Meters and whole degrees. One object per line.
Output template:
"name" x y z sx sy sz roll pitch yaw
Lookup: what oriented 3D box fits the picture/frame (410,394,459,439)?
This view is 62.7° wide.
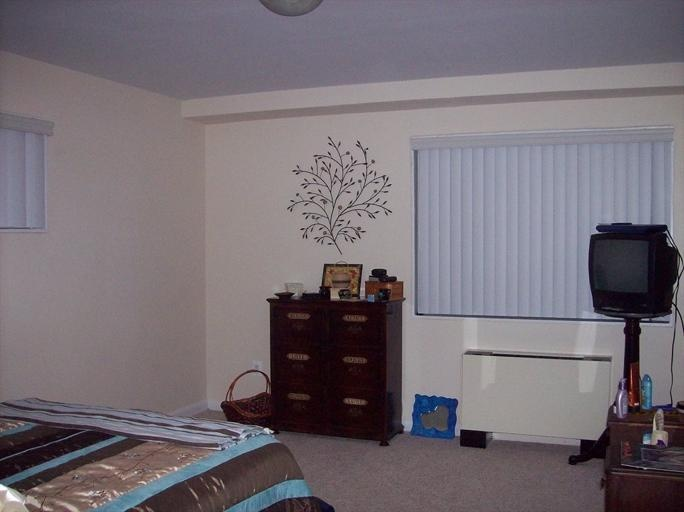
"picture/frame" 0.871 1.493 5.181 0.319 0.340 0.039 9 1 6

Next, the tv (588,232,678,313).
"tv" 2.142 0.149 4.327 0.609 0.688 0.533 4 -4 -41

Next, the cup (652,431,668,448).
"cup" 1.941 1.122 3.426 0.095 0.100 0.054 2 1 25

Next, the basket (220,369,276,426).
"basket" -0.875 1.360 5.365 0.542 0.621 0.340 2 6 -10

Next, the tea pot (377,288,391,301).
"tea pot" 0.377 0.341 4.983 0.120 0.099 0.155 5 6 4

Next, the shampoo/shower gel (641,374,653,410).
"shampoo/shower gel" 2.148 0.965 3.959 0.075 0.214 0.119 9 8 36

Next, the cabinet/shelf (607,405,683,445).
"cabinet/shelf" 2.021 1.035 3.752 0.379 0.375 0.249 -2 -4 20

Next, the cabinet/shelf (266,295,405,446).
"cabinet/shelf" -0.045 1.029 4.998 1.230 1.261 0.534 0 -1 19
